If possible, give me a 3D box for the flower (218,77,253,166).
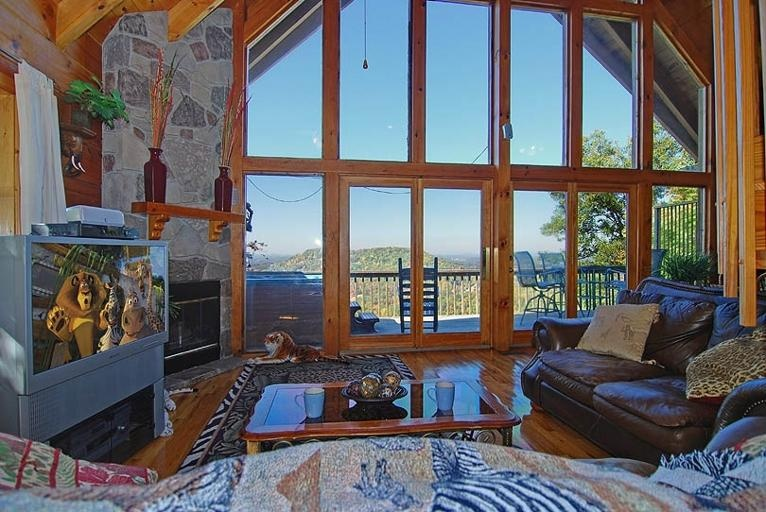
[{"bbox_3d":[-1.645,-1.474,5.730,0.318,0.975,0.787,-2,10,-15],"label":"flower"}]

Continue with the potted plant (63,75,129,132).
[{"bbox_3d":[-2.580,-1.374,4.677,0.472,0.418,0.462,-4,11,-28],"label":"potted plant"}]

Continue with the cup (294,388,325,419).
[{"bbox_3d":[-0.485,1.004,3.593,0.151,0.172,0.234,-1,10,-11],"label":"cup"}]

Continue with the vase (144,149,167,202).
[{"bbox_3d":[-2.085,-0.729,4.727,0.189,0.495,0.332,-4,10,-26],"label":"vase"}]

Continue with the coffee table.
[{"bbox_3d":[-0.018,1.076,3.708,1.831,0.382,0.707,0,9,-5],"label":"coffee table"}]

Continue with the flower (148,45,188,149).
[{"bbox_3d":[-2.128,-1.532,5.019,0.294,1.008,0.891,-3,10,-21],"label":"flower"}]

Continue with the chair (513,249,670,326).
[{"bbox_3d":[2.597,0.459,6.747,1.711,1.243,0.979,-2,3,-11],"label":"chair"}]

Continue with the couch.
[{"bbox_3d":[2.079,0.956,4.084,1.116,1.068,1.863,3,-2,-16],"label":"couch"}]

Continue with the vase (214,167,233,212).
[{"bbox_3d":[-1.675,-0.700,5.436,0.180,0.473,0.218,-5,11,-28],"label":"vase"}]
